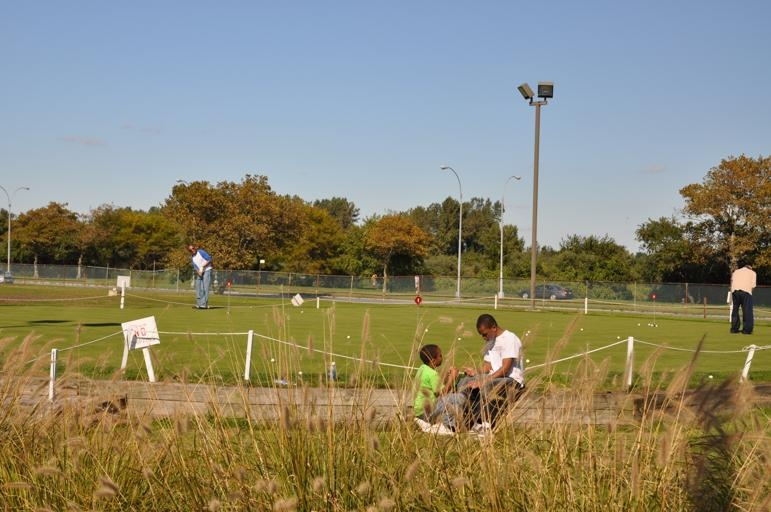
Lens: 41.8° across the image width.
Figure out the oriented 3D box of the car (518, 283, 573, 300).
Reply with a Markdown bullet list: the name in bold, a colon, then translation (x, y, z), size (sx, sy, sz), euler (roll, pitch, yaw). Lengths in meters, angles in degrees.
- **car**: translation (9.153, 2.002, 55.605), size (2.146, 0.711, 1.038), euler (3, 0, 31)

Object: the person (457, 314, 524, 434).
- **person**: translation (1.558, 1.791, 15.686), size (0.986, 1.787, 1.403), euler (-1, 1, 41)

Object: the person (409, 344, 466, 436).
- **person**: translation (0.977, 1.875, 14.994), size (0.724, 1.250, 0.857), euler (-7, 9, 39)

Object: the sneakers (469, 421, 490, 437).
- **sneakers**: translation (1.202, 2.187, 12.794), size (0.243, 0.135, 0.335), euler (-5, 0, 7)
